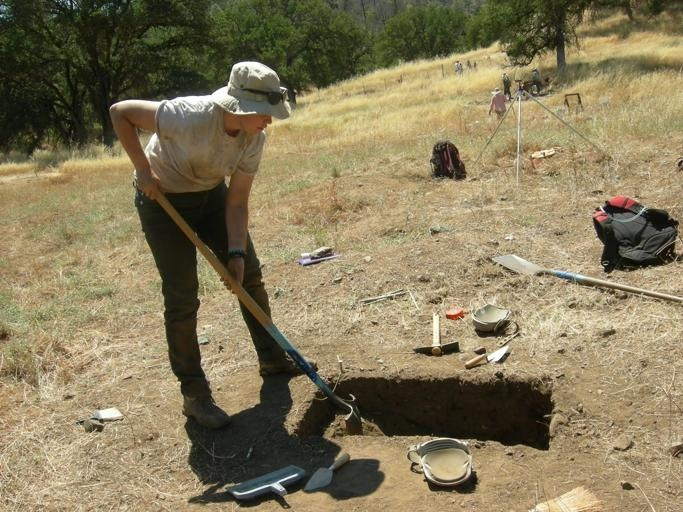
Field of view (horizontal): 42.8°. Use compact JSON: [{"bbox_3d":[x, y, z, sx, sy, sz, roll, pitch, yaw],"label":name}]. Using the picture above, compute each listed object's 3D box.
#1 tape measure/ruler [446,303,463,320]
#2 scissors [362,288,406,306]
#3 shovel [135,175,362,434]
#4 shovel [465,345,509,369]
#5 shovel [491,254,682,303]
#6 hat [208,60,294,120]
[{"bbox_3d":[1.475,0.723,11.306,0.180,0.043,0.175,-10,26,-5],"label":"tape measure/ruler"},{"bbox_3d":[0.559,0.558,11.681,0.707,0.113,0.084,-8,33,0],"label":"scissors"},{"bbox_3d":[-1.310,0.747,11.116,1.135,3.417,0.256,-14,15,29],"label":"shovel"},{"bbox_3d":[1.823,1.256,10.728,0.662,0.143,0.209,-13,30,-9],"label":"shovel"},{"bbox_3d":[3.291,0.320,11.314,2.111,0.113,0.307,10,7,29],"label":"shovel"},{"bbox_3d":[-1.062,-1.868,9.876,0.752,0.402,0.734,11,24,18],"label":"hat"}]
